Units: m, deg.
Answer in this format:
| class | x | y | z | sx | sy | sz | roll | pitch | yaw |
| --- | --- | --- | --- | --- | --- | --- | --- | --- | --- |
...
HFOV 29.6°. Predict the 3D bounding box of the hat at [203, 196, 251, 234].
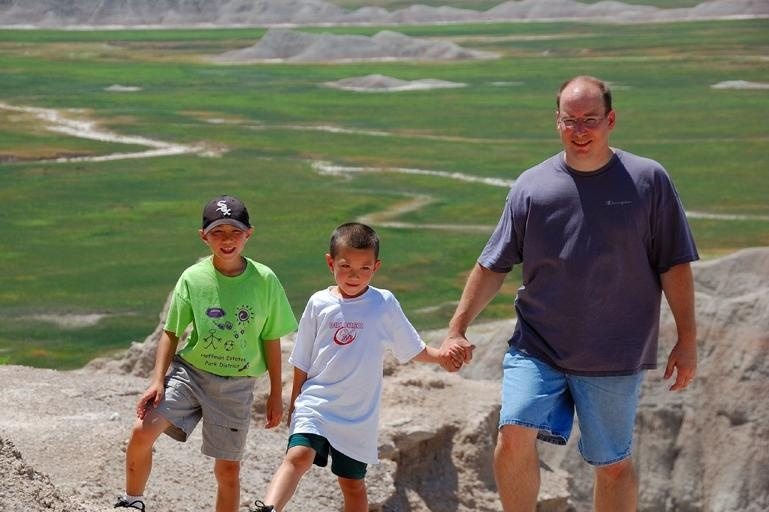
| class | x | y | z | sx | sy | sz | roll | pitch | yaw |
| --- | --- | --- | --- | --- | --- | --- | --- | --- | --- |
| hat | -1.701 | -0.457 | 15.580 | 0.523 | 0.364 | 0.238 | -1 | 12 | -6 |
